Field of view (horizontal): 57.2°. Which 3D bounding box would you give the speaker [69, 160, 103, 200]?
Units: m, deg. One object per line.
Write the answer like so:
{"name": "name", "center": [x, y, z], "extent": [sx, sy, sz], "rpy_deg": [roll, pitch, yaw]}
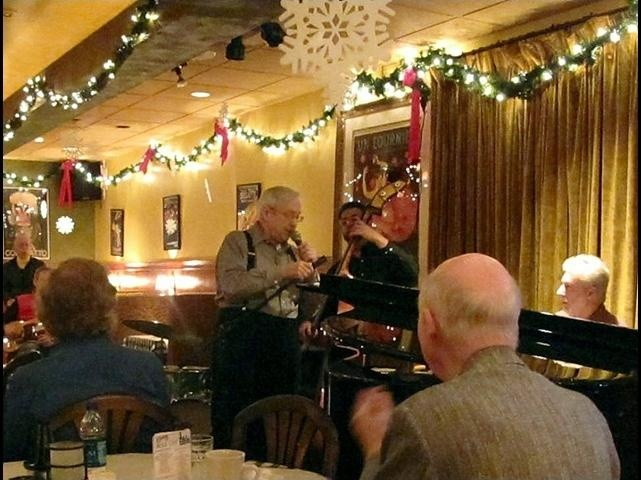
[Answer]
{"name": "speaker", "center": [-2.194, -0.552, 5.526], "extent": [0.252, 0.423, 0.719], "rpy_deg": [0, -3, -23]}

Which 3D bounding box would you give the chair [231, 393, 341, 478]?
{"name": "chair", "center": [-0.132, 0.729, 2.343], "extent": [0.326, 0.446, 0.338], "rpy_deg": [2, -17, 12]}

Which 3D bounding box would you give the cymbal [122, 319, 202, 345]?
{"name": "cymbal", "center": [-1.217, 0.696, 4.481], "extent": [0.324, 0.075, 0.340], "rpy_deg": [19, -12, -21]}

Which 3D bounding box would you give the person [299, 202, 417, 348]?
{"name": "person", "center": [0.262, 0.186, 2.948], "extent": [0.396, 0.775, 0.243], "rpy_deg": [6, 4, 35]}

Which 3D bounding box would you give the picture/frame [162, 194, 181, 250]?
{"name": "picture/frame", "center": [-1.319, -0.154, 5.215], "extent": [0.168, 0.490, 0.133], "rpy_deg": [0, -2, -16]}

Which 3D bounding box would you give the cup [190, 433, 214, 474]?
{"name": "cup", "center": [-0.365, 0.679, 1.846], "extent": [0.073, 0.087, 0.079], "rpy_deg": [0, -6, 0]}

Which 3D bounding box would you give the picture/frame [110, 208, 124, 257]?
{"name": "picture/frame", "center": [-1.805, -0.075, 5.239], "extent": [0.217, 0.406, 0.027], "rpy_deg": [2, -1, 40]}

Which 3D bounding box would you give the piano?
{"name": "piano", "center": [0.581, 0.453, 2.107], "extent": [0.907, 0.724, 0.934], "rpy_deg": [21, -19, -35]}
